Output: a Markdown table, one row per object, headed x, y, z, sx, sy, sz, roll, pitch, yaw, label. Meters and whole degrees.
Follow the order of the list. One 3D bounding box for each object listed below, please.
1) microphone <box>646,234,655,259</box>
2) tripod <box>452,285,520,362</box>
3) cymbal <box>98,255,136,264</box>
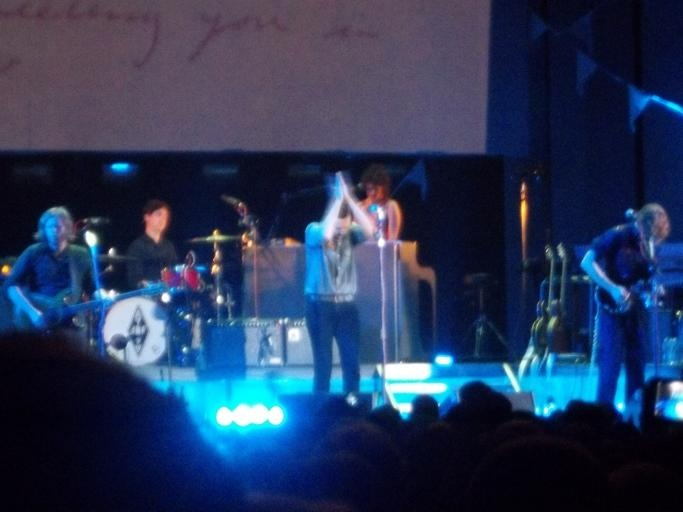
| x | y | z | sx | sy | sz | roll | pitch | yaw | label |
| --- | --- | --- | --- | --- | --- | --- | --- | --- | --- |
| 2.557 | -0.069 | 9.009 | 0.085 | 0.185 | 0.038 | 3 | -7 | -25 | microphone |
| 1.530 | 0.700 | 11.937 | 0.611 | 1.026 | 0.673 | -1 | -5 | -4 | tripod |
| -2.272 | 0.036 | 10.795 | 0.216 | 0.062 | 0.227 | 0 | 1 | 37 | cymbal |
